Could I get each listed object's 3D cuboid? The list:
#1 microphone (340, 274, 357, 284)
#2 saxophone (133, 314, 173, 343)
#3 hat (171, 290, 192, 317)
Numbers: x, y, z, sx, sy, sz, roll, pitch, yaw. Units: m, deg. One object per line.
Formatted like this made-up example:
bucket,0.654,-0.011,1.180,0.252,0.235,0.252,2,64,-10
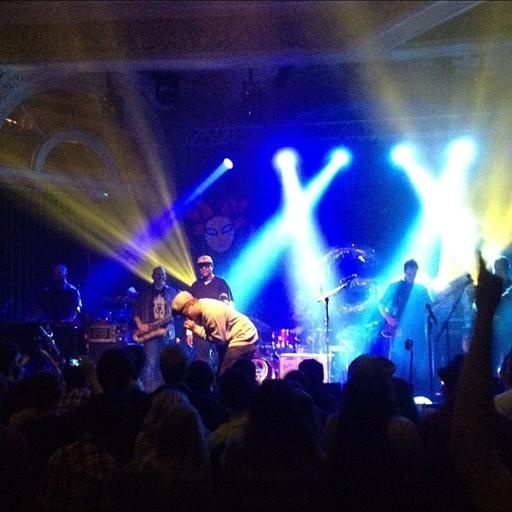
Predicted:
microphone,1.388,0.342,8.127,0.182,0.057,0.196,-29,1,44
saxophone,-1.332,0.978,7.008,0.414,0.123,0.318,-17,10,-5
hat,-0.674,0.411,4.944,0.165,0.221,0.150,36,-24,-31
